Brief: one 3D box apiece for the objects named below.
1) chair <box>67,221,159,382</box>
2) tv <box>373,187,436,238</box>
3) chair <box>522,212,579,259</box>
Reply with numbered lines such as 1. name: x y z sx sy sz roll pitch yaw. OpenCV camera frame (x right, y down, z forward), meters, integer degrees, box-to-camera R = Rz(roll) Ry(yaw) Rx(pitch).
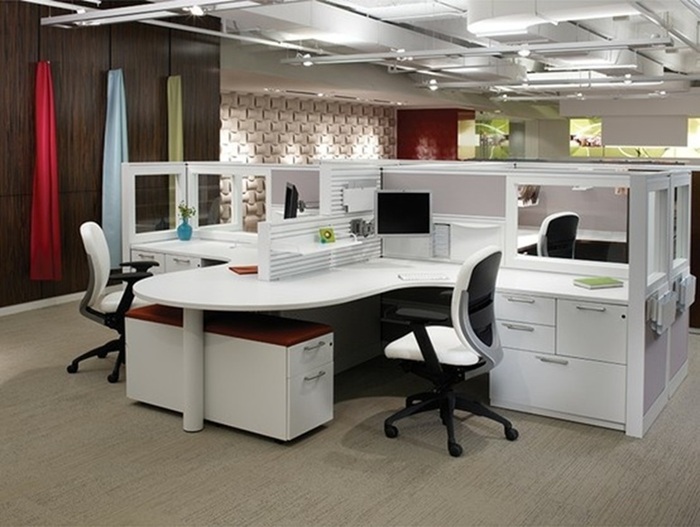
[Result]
1. chair: -2.014 0.306 4.558 0.904 1.234 0.954 3 3 -44
2. tv: 0.479 -0.446 4.506 0.452 0.349 0.047 1 6 3
3. chair: 1.833 -0.244 4.939 0.531 0.550 0.515 -4 6 -35
